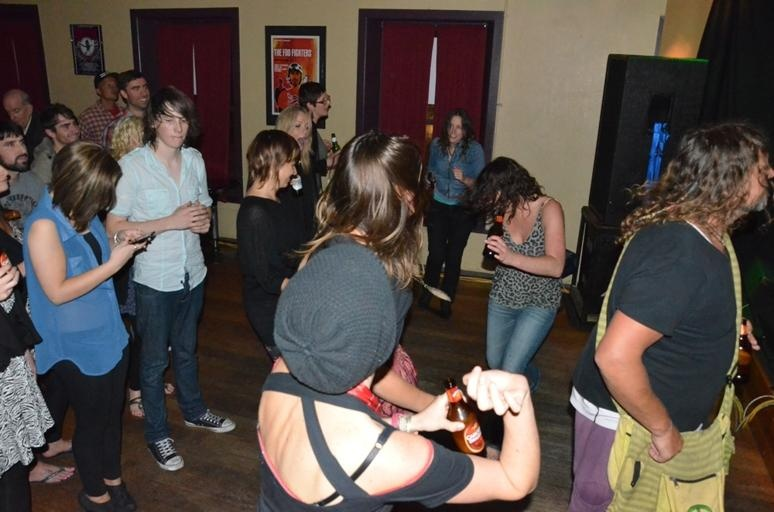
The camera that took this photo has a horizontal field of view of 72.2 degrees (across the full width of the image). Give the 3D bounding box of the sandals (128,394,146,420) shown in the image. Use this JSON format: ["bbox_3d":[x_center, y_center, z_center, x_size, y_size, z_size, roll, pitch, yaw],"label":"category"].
[{"bbox_3d":[-1.814,1.099,3.853,0.122,0.196,0.251,1,-3,-28],"label":"sandals"}]

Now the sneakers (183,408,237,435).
[{"bbox_3d":[-1.233,1.185,3.836,0.390,0.165,0.153,5,24,1],"label":"sneakers"}]

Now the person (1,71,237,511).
[{"bbox_3d":[-1.500,0.303,3.140,0.554,2.361,1.002,9,19,20],"label":"person"}]

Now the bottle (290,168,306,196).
[{"bbox_3d":[-0.652,-0.528,3.907,0.123,0.195,0.124,4,69,-10],"label":"bottle"}]

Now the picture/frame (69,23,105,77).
[{"bbox_3d":[-3.926,-2.682,6.967,0.536,0.643,0.156,10,19,21],"label":"picture/frame"}]

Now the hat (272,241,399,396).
[{"bbox_3d":[-0.175,0.205,1.790,0.335,0.463,0.295,-11,22,-36],"label":"hat"}]

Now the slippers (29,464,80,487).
[{"bbox_3d":[-2.114,1.380,3.369,0.215,0.083,0.123,12,42,-4],"label":"slippers"}]

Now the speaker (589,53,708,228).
[{"bbox_3d":[2.650,-1.174,4.971,0.876,1.454,0.911,4,38,19],"label":"speaker"}]

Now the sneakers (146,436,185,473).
[{"bbox_3d":[-1.435,1.304,3.466,0.311,0.131,0.127,24,26,39],"label":"sneakers"}]
